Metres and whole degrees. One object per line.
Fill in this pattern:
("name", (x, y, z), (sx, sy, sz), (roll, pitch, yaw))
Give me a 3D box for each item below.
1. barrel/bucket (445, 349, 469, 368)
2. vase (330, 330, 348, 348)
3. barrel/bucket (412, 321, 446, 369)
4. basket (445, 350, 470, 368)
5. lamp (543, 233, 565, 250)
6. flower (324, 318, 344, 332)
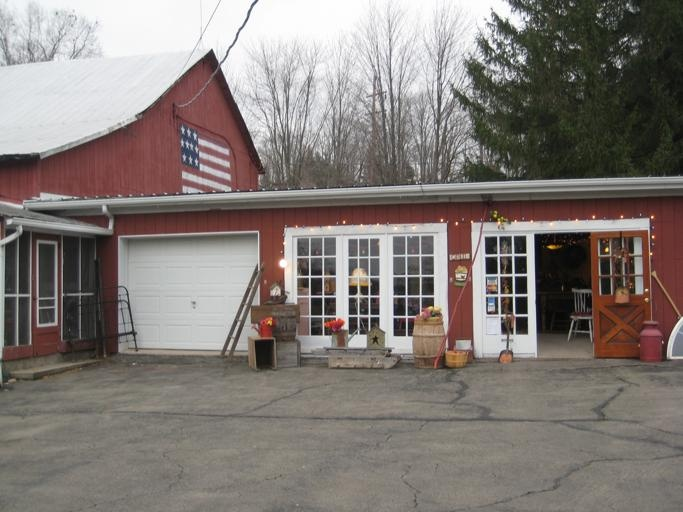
("barrel/bucket", (2.147, 1.932, 12.050), (0.254, 0.292, 0.359), (0, -11, 6))
("vase", (-0.031, 1.674, 12.763), (0.257, 0.417, 0.379), (-3, -4, 30))
("barrel/bucket", (1.602, 1.648, 11.988), (0.682, 1.145, 0.733), (0, -4, 0))
("basket", (2.157, 1.951, 12.045), (0.399, 0.291, 0.291), (-1, 3, 5))
("lamp", (6.214, -0.369, 18.753), (0.709, 0.522, 0.576), (-1, 3, 6))
("flower", (-0.132, 1.378, 12.749), (0.256, 0.264, 0.341), (-3, -9, 7))
